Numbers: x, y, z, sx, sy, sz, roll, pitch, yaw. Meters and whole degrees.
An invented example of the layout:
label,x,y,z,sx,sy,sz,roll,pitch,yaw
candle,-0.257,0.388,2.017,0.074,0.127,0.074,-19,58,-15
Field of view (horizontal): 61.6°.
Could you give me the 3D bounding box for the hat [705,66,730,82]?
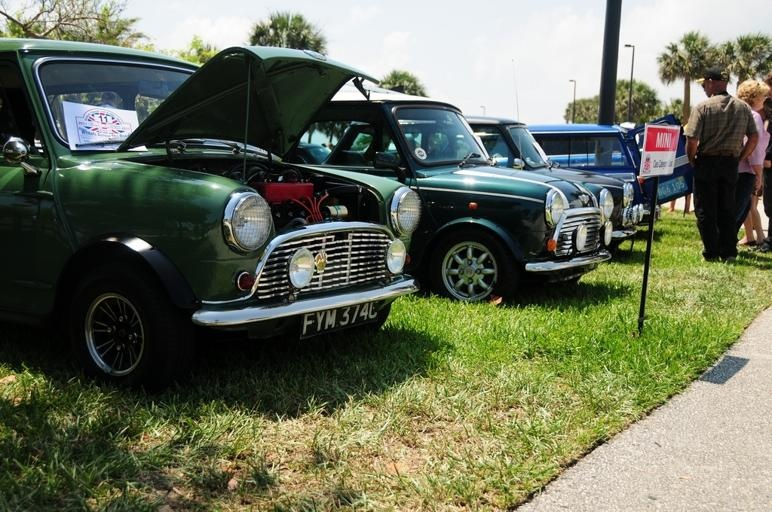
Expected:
label,x,y,z,sx,sy,sz,roll,pitch,yaw
hat,4.634,-2.583,9.153,0.226,0.181,0.324,-7,17,-18
